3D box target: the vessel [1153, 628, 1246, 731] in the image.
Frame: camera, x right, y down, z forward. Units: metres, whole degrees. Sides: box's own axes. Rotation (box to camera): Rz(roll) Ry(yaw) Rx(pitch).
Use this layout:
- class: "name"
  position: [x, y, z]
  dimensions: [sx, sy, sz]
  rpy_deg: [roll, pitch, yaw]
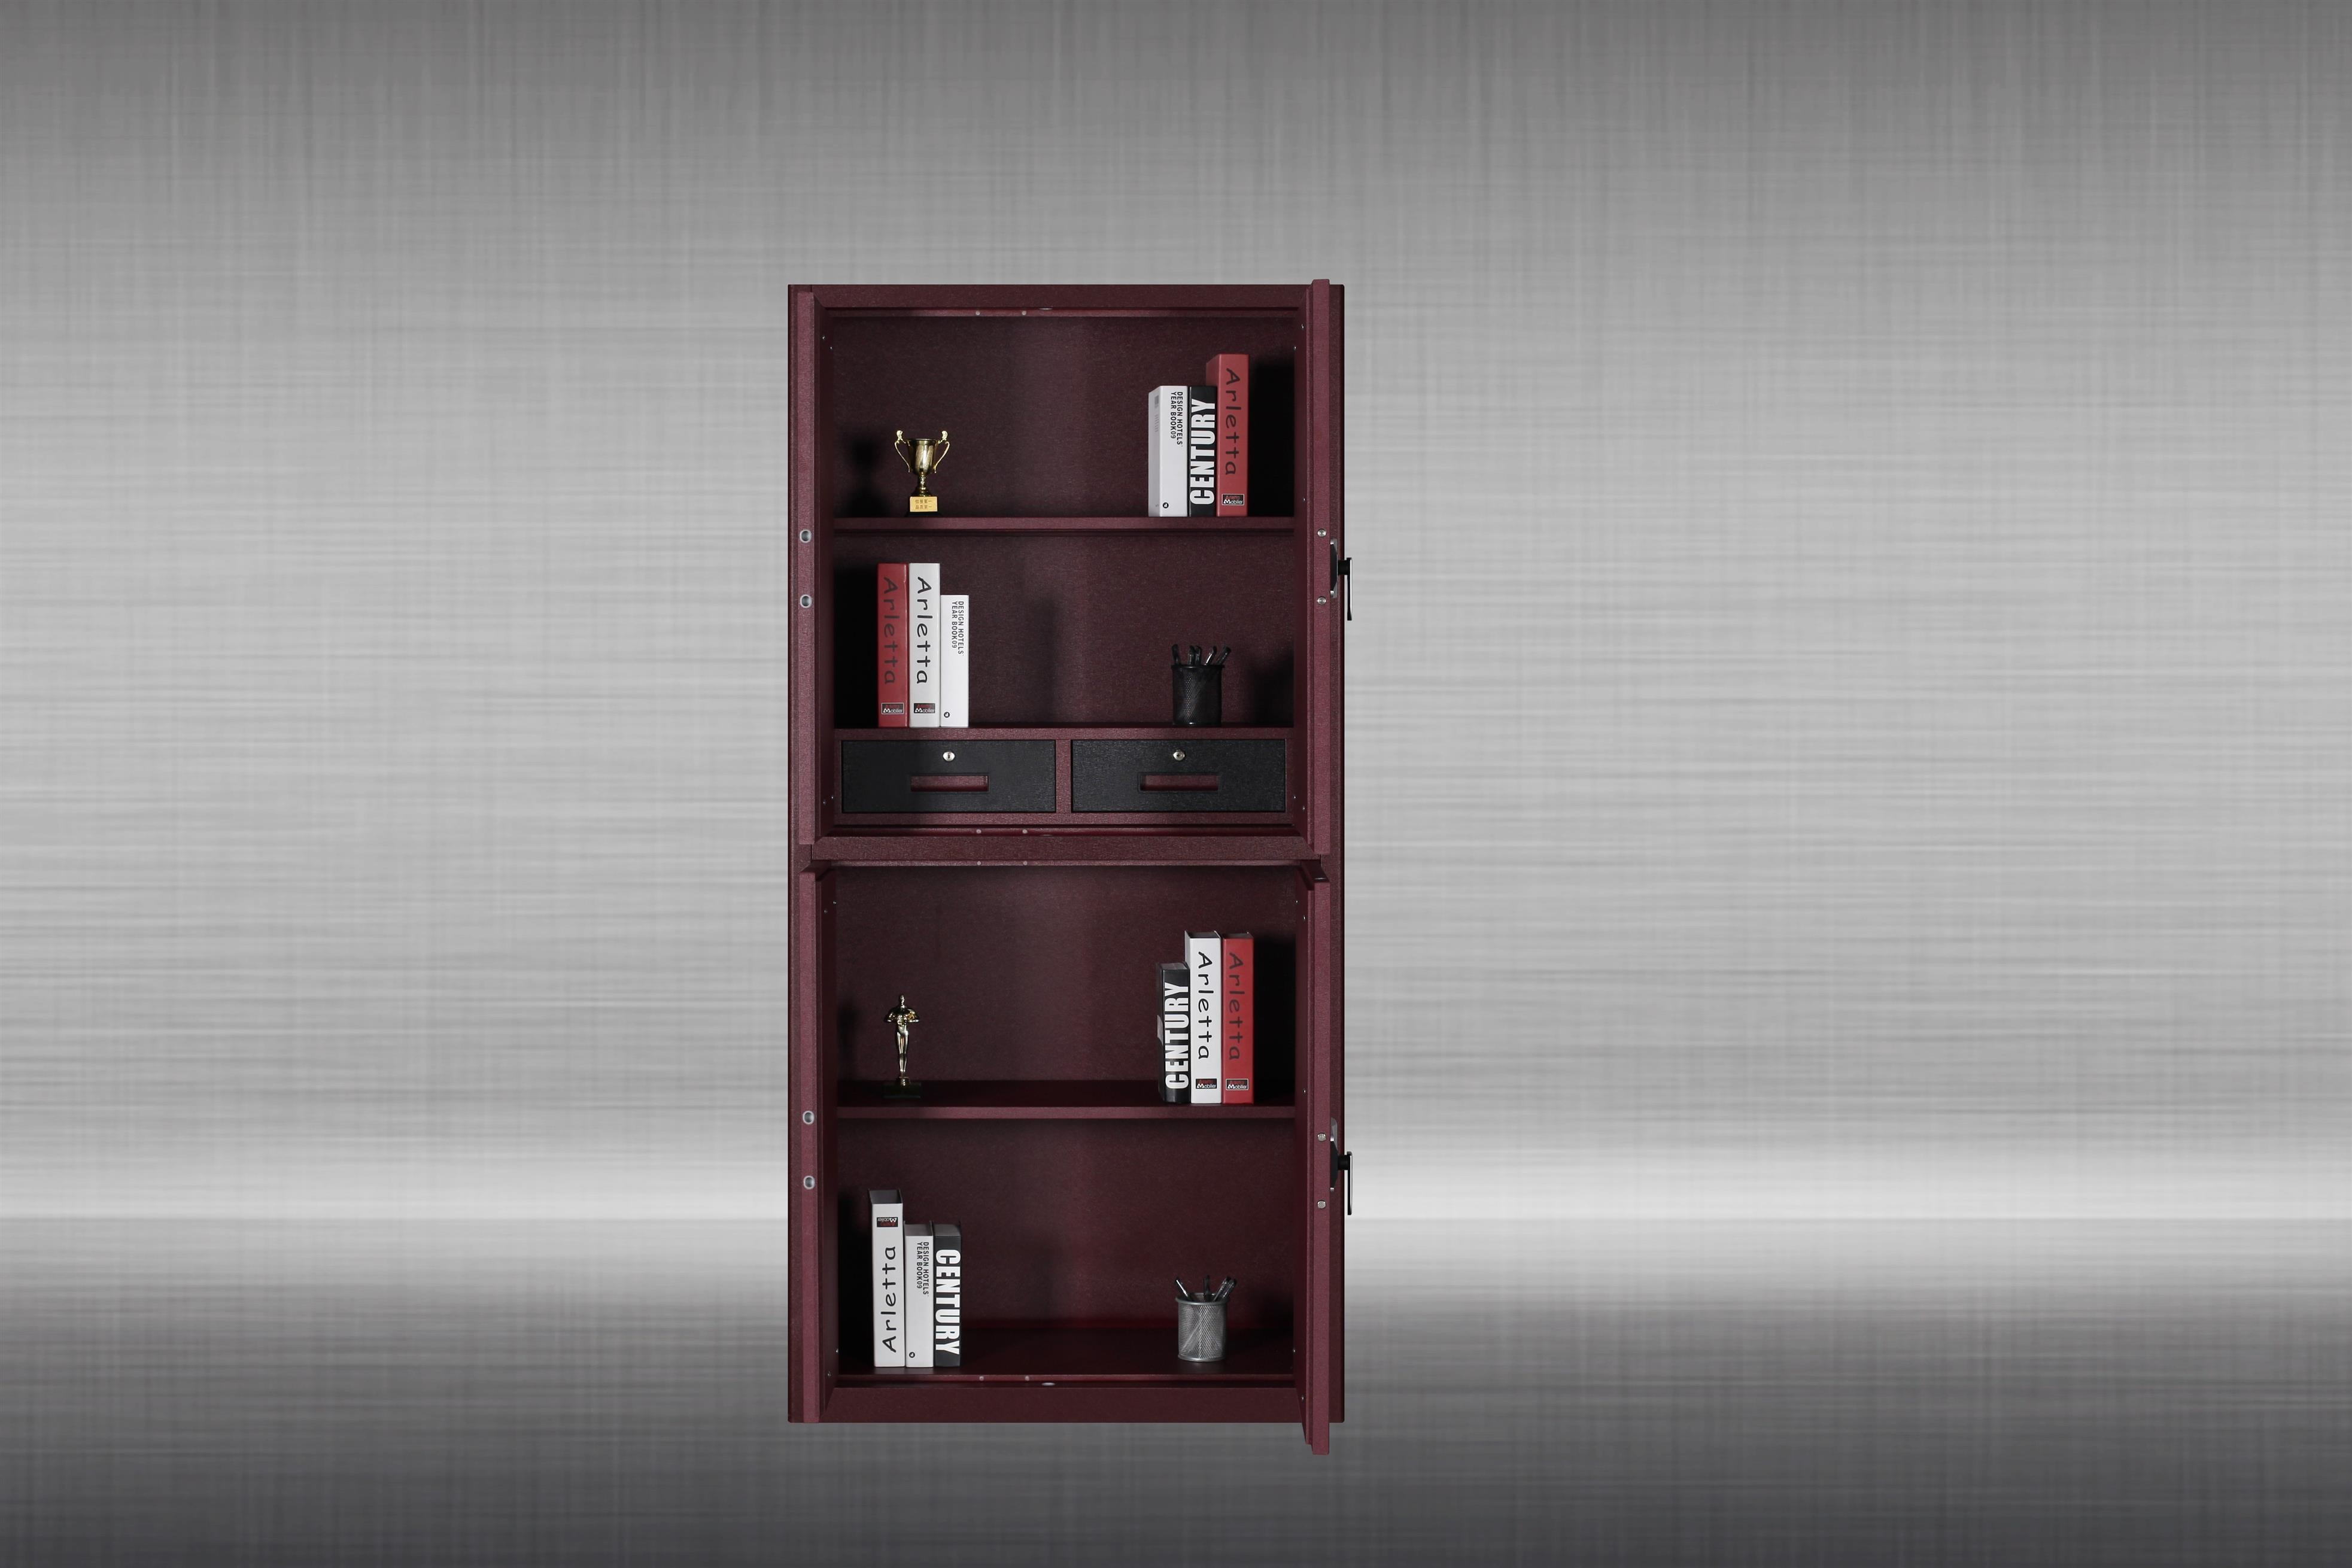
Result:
- class: "vessel"
  position: [0.061, -0.254, 8.344]
  dimensions: [0.207, 0.243, 0.200]
  rpy_deg: [0, -1, 25]

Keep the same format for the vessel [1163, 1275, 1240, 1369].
- class: "vessel"
  position: [0.063, 1.371, 8.355]
  dimensions: [0.208, 0.233, 0.182]
  rpy_deg: [1, 0, -13]
